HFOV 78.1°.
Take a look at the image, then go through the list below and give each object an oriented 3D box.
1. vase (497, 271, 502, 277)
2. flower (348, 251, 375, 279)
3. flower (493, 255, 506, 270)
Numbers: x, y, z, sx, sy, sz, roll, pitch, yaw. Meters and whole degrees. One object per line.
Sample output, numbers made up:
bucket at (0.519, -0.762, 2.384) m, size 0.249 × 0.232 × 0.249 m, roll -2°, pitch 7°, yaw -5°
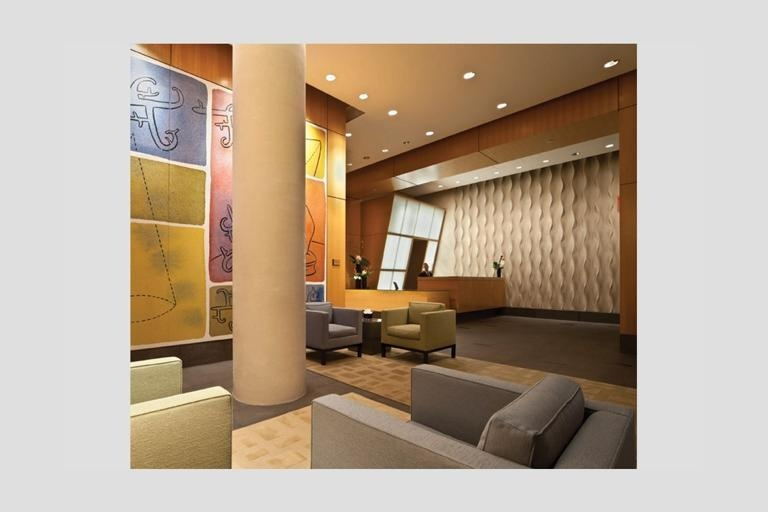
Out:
vase at (2.788, 0.402, 11.546) m, size 0.128 × 0.218 × 0.406 m, roll 1°, pitch -4°, yaw 14°
flower at (-0.550, 0.224, 11.200) m, size 0.462 × 0.717 × 0.775 m, roll -2°, pitch -1°, yaw 39°
flower at (2.773, 0.153, 11.658) m, size 0.343 × 0.363 × 0.336 m, roll -1°, pitch 1°, yaw -45°
